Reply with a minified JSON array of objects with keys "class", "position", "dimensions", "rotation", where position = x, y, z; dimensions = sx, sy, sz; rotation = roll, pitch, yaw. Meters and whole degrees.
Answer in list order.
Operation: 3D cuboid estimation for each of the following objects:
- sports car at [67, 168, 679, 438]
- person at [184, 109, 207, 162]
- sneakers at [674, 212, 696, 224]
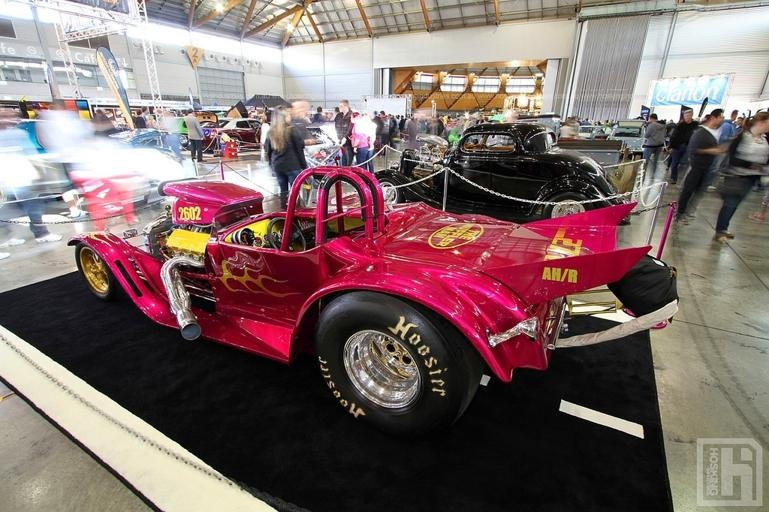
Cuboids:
[{"class":"sports car","position":[-0.764,0.158,3.767],"dimensions":[5.697,1.485,2.480],"rotation":[8,16,23]},{"class":"person","position":[-6.023,-3.518,11.860],"dimensions":[0.461,1.561,1.103],"rotation":[-14,30,-23]},{"class":"sneakers","position":[5.463,-0.649,6.960],"dimensions":[0.234,0.076,0.299],"rotation":[-20,29,-8]}]
